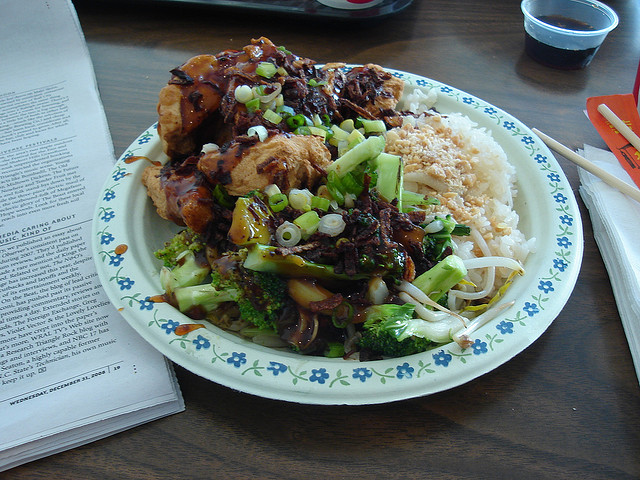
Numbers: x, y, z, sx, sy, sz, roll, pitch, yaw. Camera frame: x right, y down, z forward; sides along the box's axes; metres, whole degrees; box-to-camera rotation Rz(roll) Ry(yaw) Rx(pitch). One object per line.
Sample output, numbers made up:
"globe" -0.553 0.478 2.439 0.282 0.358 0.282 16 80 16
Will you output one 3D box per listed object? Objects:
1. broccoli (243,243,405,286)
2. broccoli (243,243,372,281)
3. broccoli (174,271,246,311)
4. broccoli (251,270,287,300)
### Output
"broccoli" 0.034 0.133 3.226 0.891 0.209 0.175 2 65 -1
"broccoli" 0.022 0.142 3.268 0.914 0.162 0.171 4 58 -10
"broccoli" -0.630 0.297 3.326 0.432 0.117 0.216 -14 40 -22
"broccoli" -0.265 0.255 3.286 0.195 0.219 0.053 10 75 27
